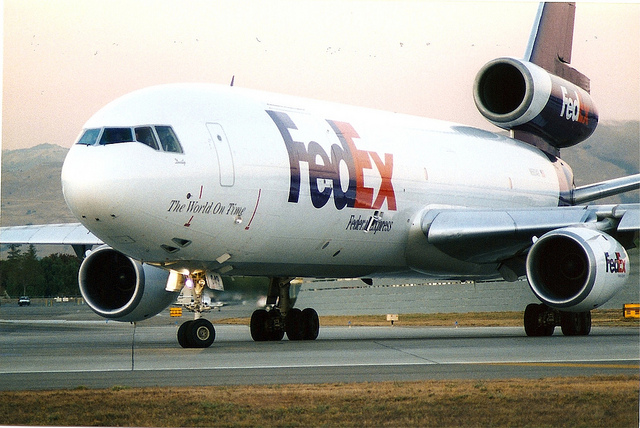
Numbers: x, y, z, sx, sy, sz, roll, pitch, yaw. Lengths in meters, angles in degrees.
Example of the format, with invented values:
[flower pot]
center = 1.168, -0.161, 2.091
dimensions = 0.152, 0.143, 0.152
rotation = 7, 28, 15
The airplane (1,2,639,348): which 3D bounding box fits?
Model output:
[airplane]
center = 1.820, -1.501, 16.556
dimensions = 13.701, 5.369, 6.024
rotation = 1, 0, -23
